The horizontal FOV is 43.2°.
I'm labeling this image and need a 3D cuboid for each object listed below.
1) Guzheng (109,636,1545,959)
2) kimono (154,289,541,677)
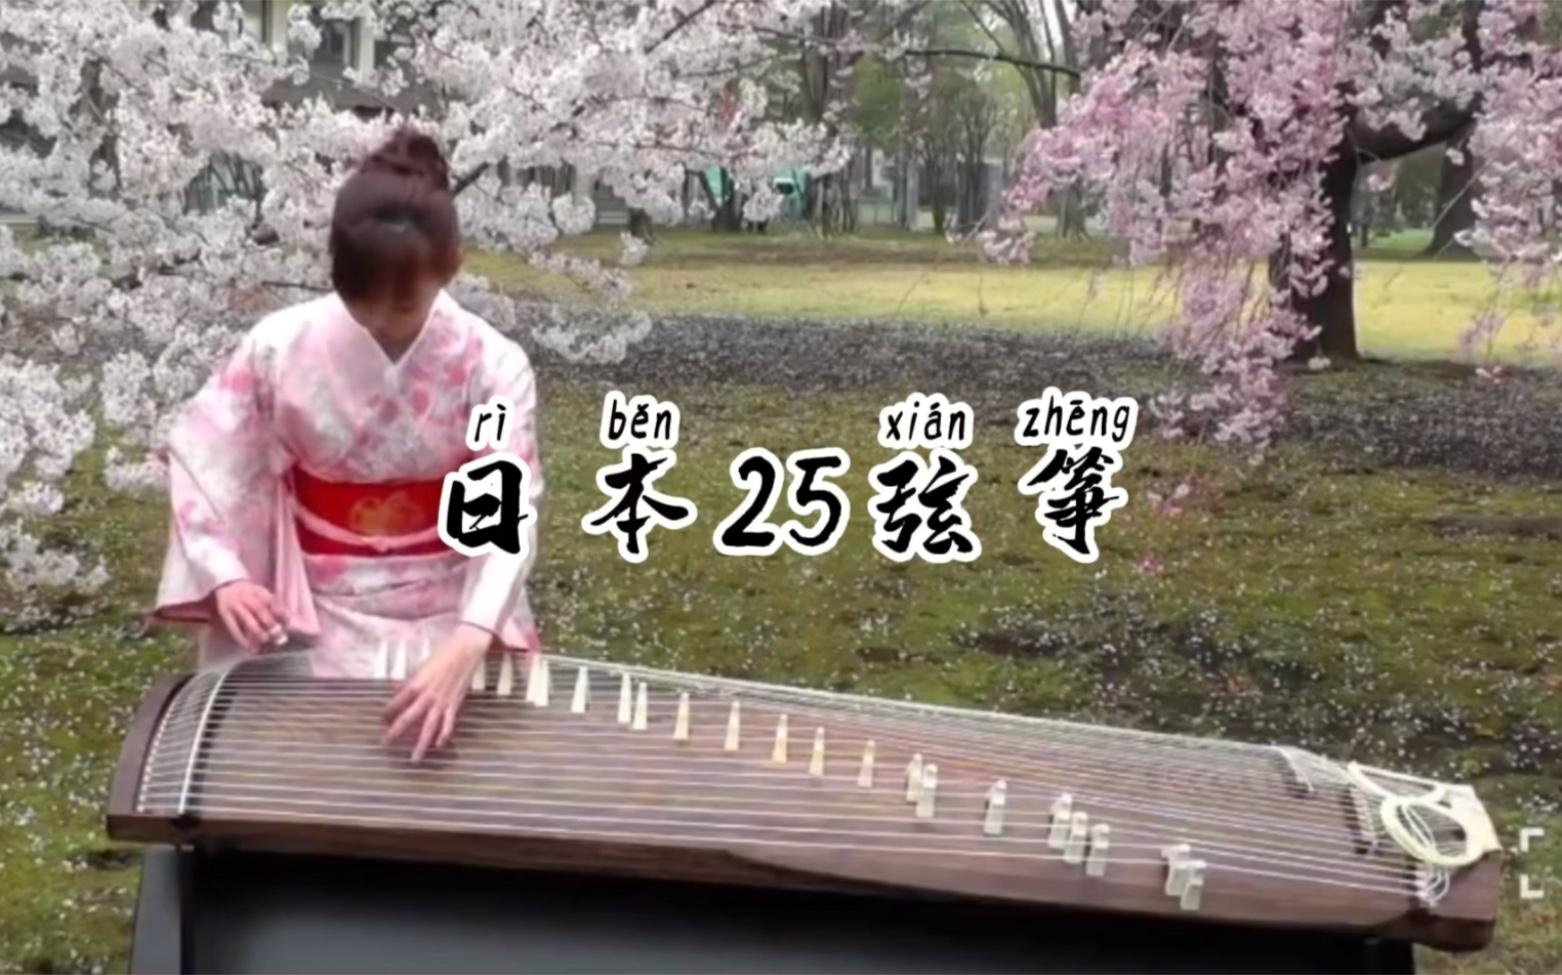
[{"bbox_3d":[-0.010,0.889,5.306,3.463,0.807,0.451,1,10,-2],"label":"Guzheng"},{"bbox_3d":[-1.159,0.082,5.447,1.036,1.296,0.747,1,35,-14],"label":"kimono"}]
